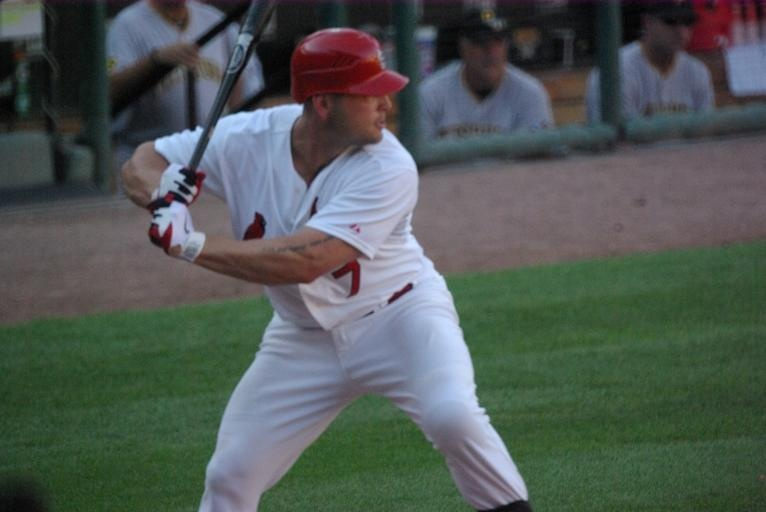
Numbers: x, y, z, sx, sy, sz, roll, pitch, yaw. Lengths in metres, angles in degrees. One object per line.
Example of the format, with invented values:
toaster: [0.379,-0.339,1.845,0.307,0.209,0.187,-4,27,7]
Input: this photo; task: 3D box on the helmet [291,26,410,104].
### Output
helmet: [-0.164,-0.954,4.215,0.637,0.335,0.440,2,25,21]

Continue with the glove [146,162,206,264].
glove: [-0.982,-0.203,4.043,0.274,0.429,0.326,-6,12,-12]

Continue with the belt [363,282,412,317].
belt: [0.021,0.190,4.294,0.178,0.055,0.181,-39,-3,20]
